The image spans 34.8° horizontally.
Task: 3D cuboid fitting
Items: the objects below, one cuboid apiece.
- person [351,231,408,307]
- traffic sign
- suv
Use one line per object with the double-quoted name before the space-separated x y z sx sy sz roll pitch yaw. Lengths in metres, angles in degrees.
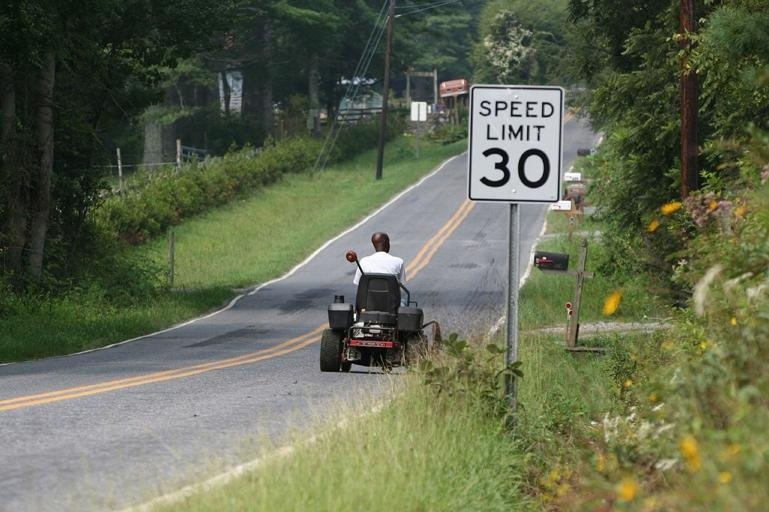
"person" -0.117 0.620 27.778 0.985 2.277 1.141 5 -15 -25
"traffic sign" 2.462 -2.106 22.934 1.720 2.614 0.185 1 -2 1
"suv" -0.230 1.452 28.280 1.460 1.738 2.666 1 9 5
